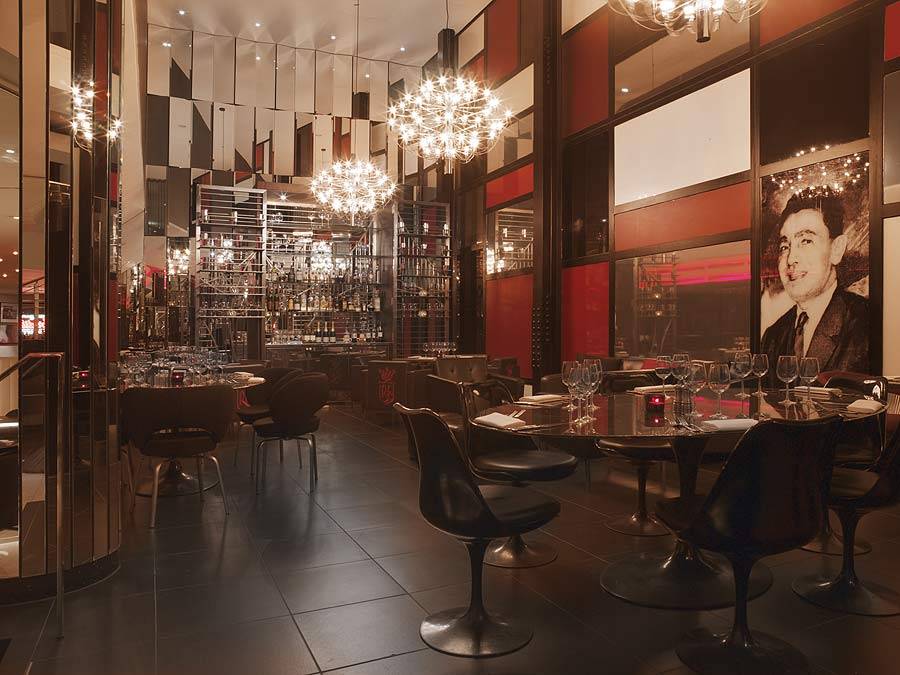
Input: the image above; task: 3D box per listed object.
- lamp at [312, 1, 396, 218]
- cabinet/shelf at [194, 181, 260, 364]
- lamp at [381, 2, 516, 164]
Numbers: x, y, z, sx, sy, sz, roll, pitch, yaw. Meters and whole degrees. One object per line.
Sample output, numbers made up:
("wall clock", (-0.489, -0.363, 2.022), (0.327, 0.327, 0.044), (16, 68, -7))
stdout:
("lamp", (-1.472, -3.395, 11.260), (1.216, 3.245, 2.244), (-1, 9, -4))
("cabinet/shelf", (-3.308, -0.802, 11.170), (1.022, 2.904, 0.354), (-2, 13, -28))
("lamp", (0.014, -2.978, 9.103), (1.230, 2.186, 1.283), (-2, -6, 5))
